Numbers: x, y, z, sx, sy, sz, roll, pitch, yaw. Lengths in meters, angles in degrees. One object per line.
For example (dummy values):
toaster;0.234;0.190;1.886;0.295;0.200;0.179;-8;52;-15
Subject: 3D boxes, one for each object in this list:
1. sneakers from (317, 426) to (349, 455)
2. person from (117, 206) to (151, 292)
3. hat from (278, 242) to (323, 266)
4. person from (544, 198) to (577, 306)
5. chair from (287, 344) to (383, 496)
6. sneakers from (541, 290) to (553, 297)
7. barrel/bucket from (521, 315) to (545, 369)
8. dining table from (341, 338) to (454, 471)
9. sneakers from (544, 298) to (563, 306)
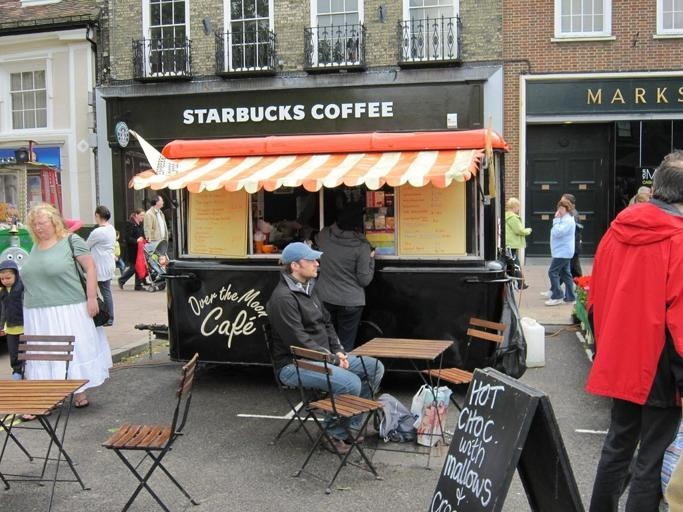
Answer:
sneakers;-0.138;1.940;9.070;0.400;0.207;0.193;5;4;32
person;-4.299;-0.121;18.032;0.714;1.720;0.547;0;12;-6
hat;-0.453;-0.042;9.407;0.336;0.200;0.230;-8;7;0
person;3.790;-0.073;14.998;0.454;1.840;0.540;2;8;21
chair;-0.052;1.559;8.967;0.968;1.338;1.299;-1;8;1
sneakers;3.717;0.688;15.712;0.081;0.107;0.236;-10;5;-18
barrel/bucket;2.564;1.201;11.620;0.322;0.620;0.476;1;8;14
dining table;0.598;1.630;9.378;0.958;1.033;1.028;-1;6;16
sneakers;3.684;0.814;15.107;0.297;0.149;0.124;0;-1;-5
